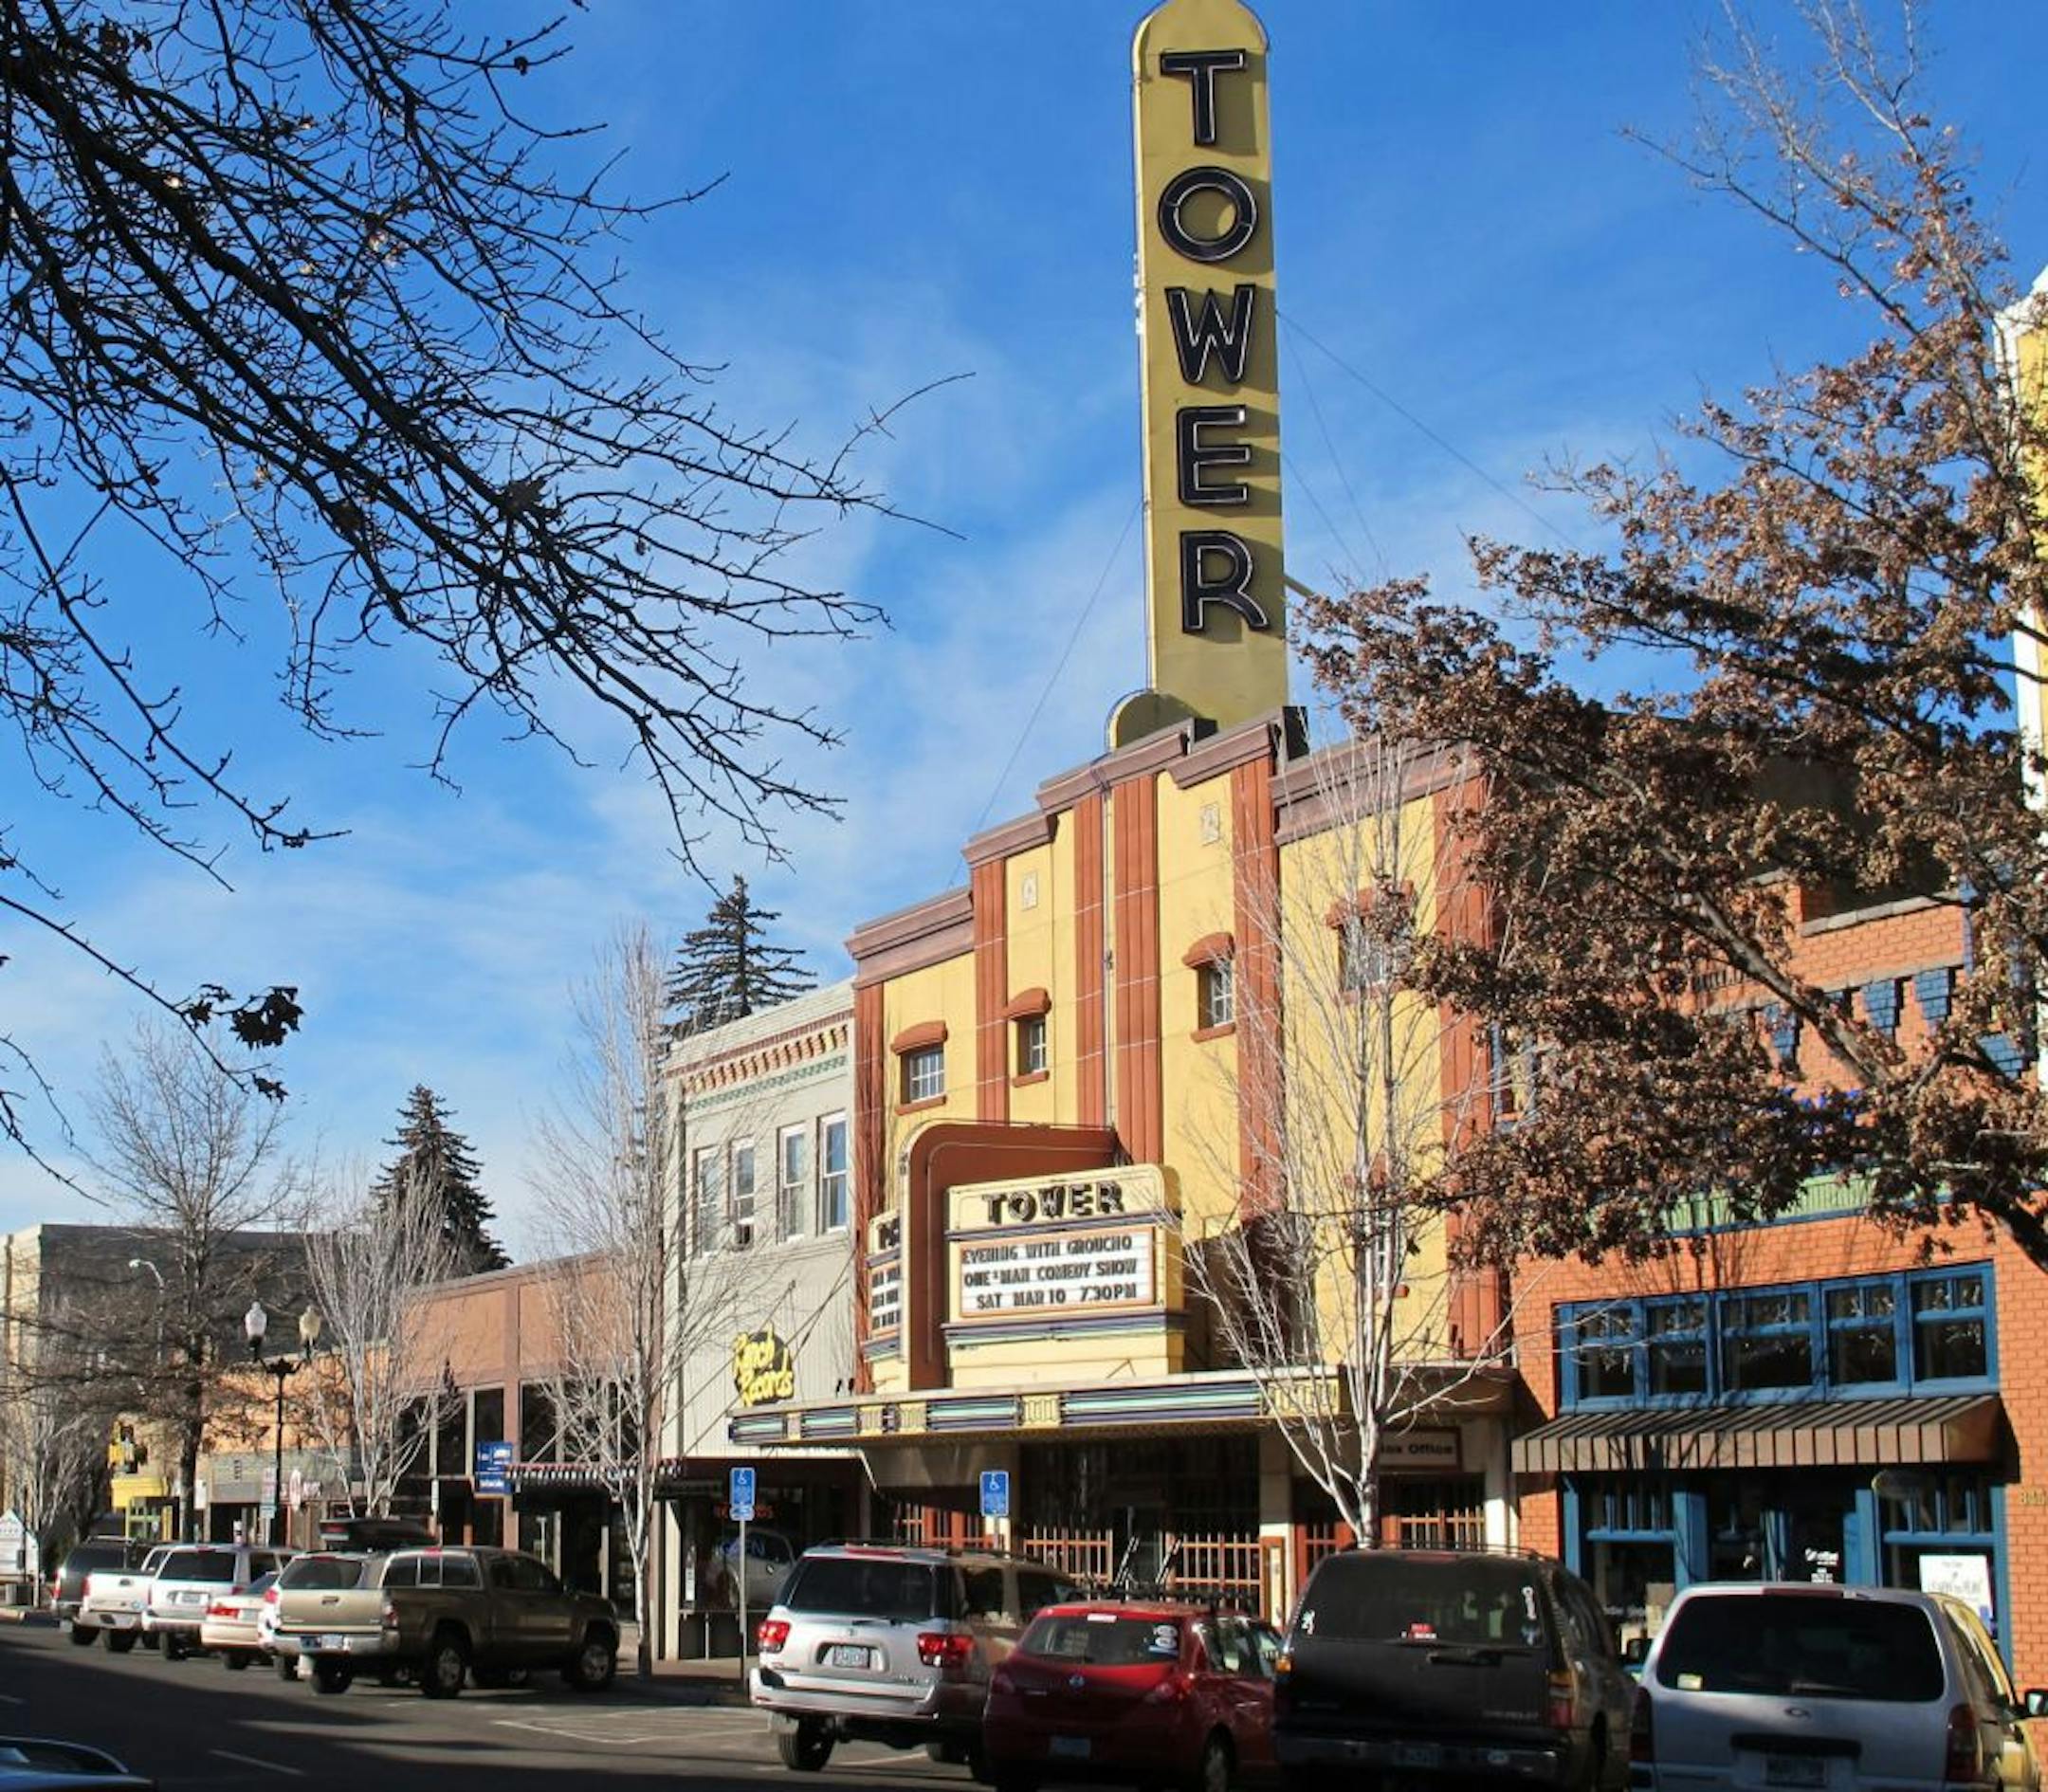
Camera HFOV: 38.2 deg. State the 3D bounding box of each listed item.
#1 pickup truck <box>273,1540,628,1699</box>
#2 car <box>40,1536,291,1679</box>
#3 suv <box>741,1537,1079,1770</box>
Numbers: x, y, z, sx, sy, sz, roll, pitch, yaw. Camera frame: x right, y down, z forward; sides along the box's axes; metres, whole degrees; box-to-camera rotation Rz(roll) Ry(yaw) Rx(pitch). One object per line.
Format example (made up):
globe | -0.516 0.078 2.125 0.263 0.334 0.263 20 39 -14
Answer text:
pickup truck | -6.493 8.193 34.284 1.763 1.321 3.403 -11 -12 44
car | -12.385 10.071 42.985 2.081 2.104 9.695 6 -21 -20
suv | -0.744 6.476 25.576 1.494 1.336 2.801 -4 -7 31
